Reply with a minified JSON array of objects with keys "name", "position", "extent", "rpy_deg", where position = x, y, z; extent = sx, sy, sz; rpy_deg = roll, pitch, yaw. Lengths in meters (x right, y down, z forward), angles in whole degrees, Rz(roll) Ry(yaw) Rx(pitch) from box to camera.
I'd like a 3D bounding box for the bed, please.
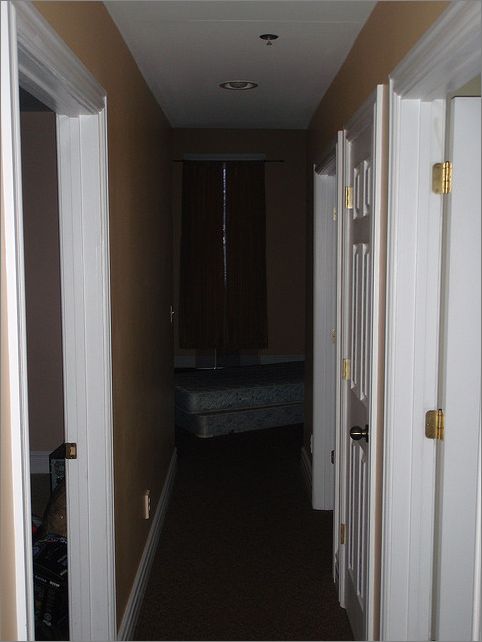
[{"name":"bed","position":[-0.002,0.801,5.083],"extent":[1.301,0.490,0.905],"rpy_deg":[-1,4,-14]}]
